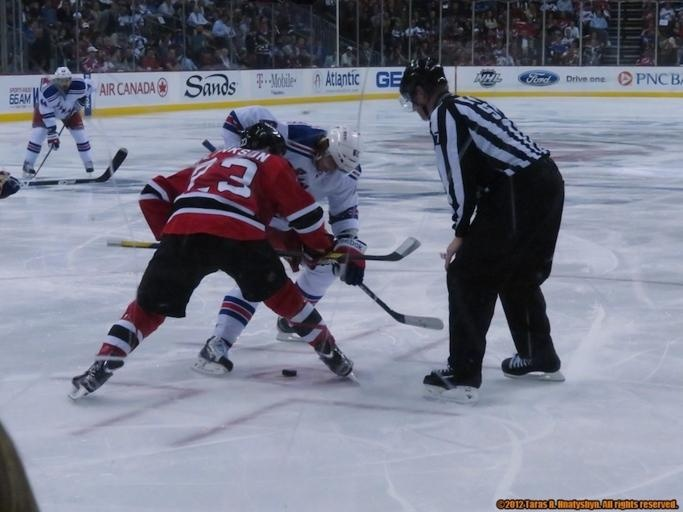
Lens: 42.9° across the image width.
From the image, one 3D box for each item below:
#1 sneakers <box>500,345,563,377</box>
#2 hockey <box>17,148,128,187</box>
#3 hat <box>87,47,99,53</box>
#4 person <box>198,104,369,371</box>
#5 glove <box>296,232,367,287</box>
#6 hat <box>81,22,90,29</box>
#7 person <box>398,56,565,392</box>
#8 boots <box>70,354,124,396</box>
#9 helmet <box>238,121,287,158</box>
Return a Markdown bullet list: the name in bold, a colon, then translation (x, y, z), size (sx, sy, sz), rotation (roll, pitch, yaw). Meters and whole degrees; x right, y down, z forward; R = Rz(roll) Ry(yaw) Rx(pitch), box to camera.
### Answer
- **sneakers**: translation (0.835, 0.458, 3.845), size (0.291, 0.141, 0.104), rotation (5, 11, 24)
- **hockey**: translation (-2.551, -0.789, 8.103), size (1.566, 0.352, 0.123), rotation (2, -4, 35)
- **hat**: translation (-4.010, -3.310, 14.014), size (0.051, 0.106, 0.186), rotation (3, 12, 25)
- **person**: translation (-0.240, -0.052, 4.081), size (0.878, 1.119, 0.741), rotation (7, 2, -11)
- **glove**: translation (-0.048, 0.043, 3.922), size (0.270, 0.104, 0.247), rotation (-15, 20, 18)
- **hat**: translation (-4.096, -3.670, 13.917), size (0.040, 0.105, 0.131), rotation (6, 15, 37)
- **person**: translation (0.594, -0.121, 3.603), size (0.656, 1.379, 0.408), rotation (-2, 13, 6)
- **boots**: translation (-1.047, 0.464, 3.598), size (0.089, 0.106, 0.276), rotation (11, 11, 22)
- **helmet**: translation (-0.355, -0.498, 3.751), size (0.182, 0.127, 0.181), rotation (-6, 7, -31)
